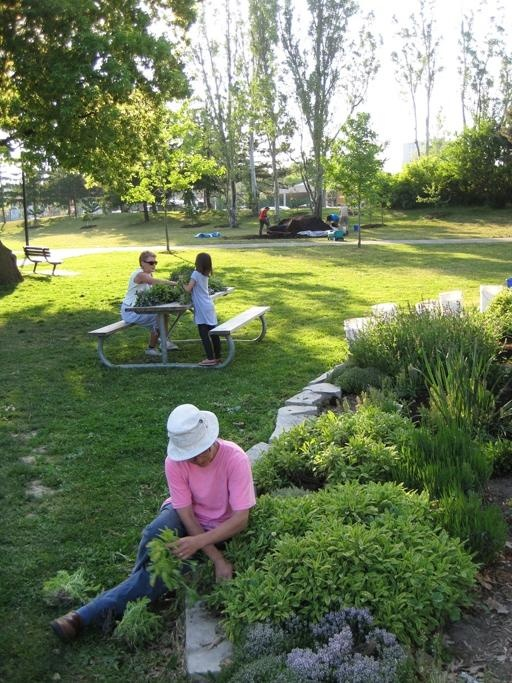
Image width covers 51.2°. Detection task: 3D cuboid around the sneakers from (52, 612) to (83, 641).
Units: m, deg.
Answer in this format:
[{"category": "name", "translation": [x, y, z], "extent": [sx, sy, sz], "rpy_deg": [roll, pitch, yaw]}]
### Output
[{"category": "sneakers", "translation": [-0.920, 1.400, 2.615], "extent": [0.084, 0.069, 0.193], "rpy_deg": [-29, -22, -15]}]

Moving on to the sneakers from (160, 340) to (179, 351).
[{"category": "sneakers", "translation": [-1.431, 0.050, 8.915], "extent": [0.335, 0.152, 0.143], "rpy_deg": [13, 18, 22]}]

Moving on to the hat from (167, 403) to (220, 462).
[{"category": "hat", "translation": [-0.313, 0.460, 2.672], "extent": [0.266, 0.325, 0.248], "rpy_deg": [-8, 15, -18]}]

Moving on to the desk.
[{"category": "desk", "translation": [-1.344, -0.409, 8.040], "extent": [1.333, 0.796, 1.658], "rpy_deg": [0, 15, 4]}]

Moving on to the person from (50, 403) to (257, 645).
[{"category": "person", "translation": [-0.467, 0.855, 2.566], "extent": [0.621, 0.802, 1.176], "rpy_deg": [6, 15, 34]}]

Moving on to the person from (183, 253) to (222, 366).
[{"category": "person", "translation": [-0.798, -0.480, 7.904], "extent": [0.428, 1.612, 0.849], "rpy_deg": [-4, 15, -4]}]

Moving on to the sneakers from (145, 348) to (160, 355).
[{"category": "sneakers", "translation": [-1.665, 0.173, 8.591], "extent": [0.200, 0.089, 0.113], "rpy_deg": [6, 8, 27]}]

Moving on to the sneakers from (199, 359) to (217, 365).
[{"category": "sneakers", "translation": [-0.703, 0.297, 7.821], "extent": [0.258, 0.104, 0.094], "rpy_deg": [3, 2, 2]}]
